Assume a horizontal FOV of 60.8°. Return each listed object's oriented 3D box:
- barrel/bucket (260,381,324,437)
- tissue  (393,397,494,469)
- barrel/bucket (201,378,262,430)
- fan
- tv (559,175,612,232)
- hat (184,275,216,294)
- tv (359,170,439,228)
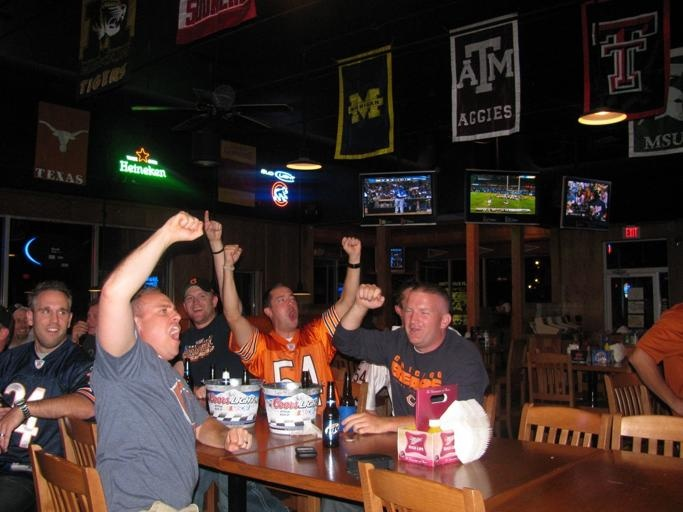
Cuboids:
[{"bbox_3d":[-0.294,0.890,3.407,0.281,0.200,0.302,0,-12,0],"label":"barrel/bucket"},{"bbox_3d":[0.562,0.853,3.001,0.363,0.275,0.345,9,-11,-43],"label":"tissue "},{"bbox_3d":[-0.652,0.893,3.533,0.287,0.197,0.299,-1,-12,0],"label":"barrel/bucket"},{"bbox_3d":[-1.386,-1.651,6.380,1.673,0.362,0.775,-1,-4,13],"label":"fan"},{"bbox_3d":[3.914,-0.832,9.304,1.142,0.782,0.238,2,-3,-33],"label":"tv"},{"bbox_3d":[-1.452,0.291,5.943,0.179,0.138,0.299,-7,-11,-15],"label":"hat"},{"bbox_3d":[0.759,-0.789,7.991,1.035,0.717,0.132,-1,-3,17],"label":"tv"}]
